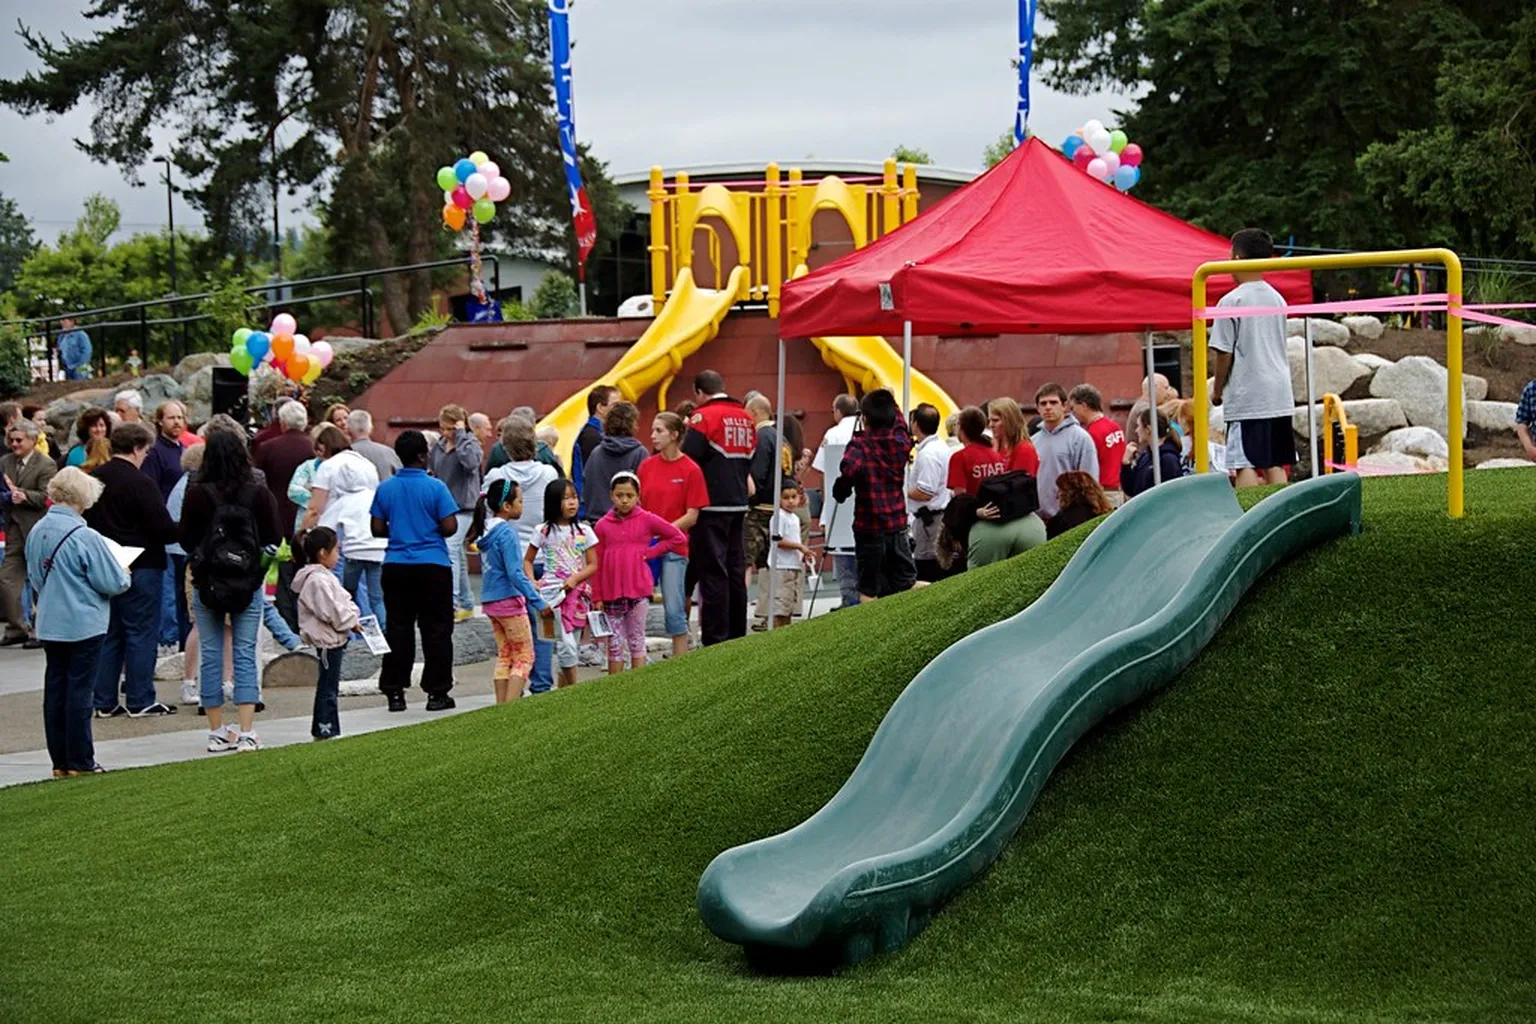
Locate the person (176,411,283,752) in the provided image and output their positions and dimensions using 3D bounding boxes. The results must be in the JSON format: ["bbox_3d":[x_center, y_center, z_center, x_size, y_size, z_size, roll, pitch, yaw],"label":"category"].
[{"bbox_3d":[-4.806,0.597,18.145,0.703,2.810,0.972,-1,2,-11],"label":"person"}]

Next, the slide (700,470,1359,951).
[{"bbox_3d":[2.109,1.436,14.828,6.187,1.513,1.397,-28,16,-39],"label":"slide"}]

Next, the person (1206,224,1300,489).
[{"bbox_3d":[4.202,-1.139,17.336,0.765,2.641,0.880,0,-1,2],"label":"person"}]

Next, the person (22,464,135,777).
[{"bbox_3d":[-5.953,0.938,17.634,0.774,2.619,0.926,0,-2,7],"label":"person"}]

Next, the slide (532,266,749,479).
[{"bbox_3d":[-1.797,-2.827,30.296,4.678,3.808,2.183,-2,-6,1],"label":"slide"}]

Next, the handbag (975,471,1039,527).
[{"bbox_3d":[2.150,-0.175,18.063,0.460,0.355,0.411,-9,12,-38],"label":"handbag"}]
